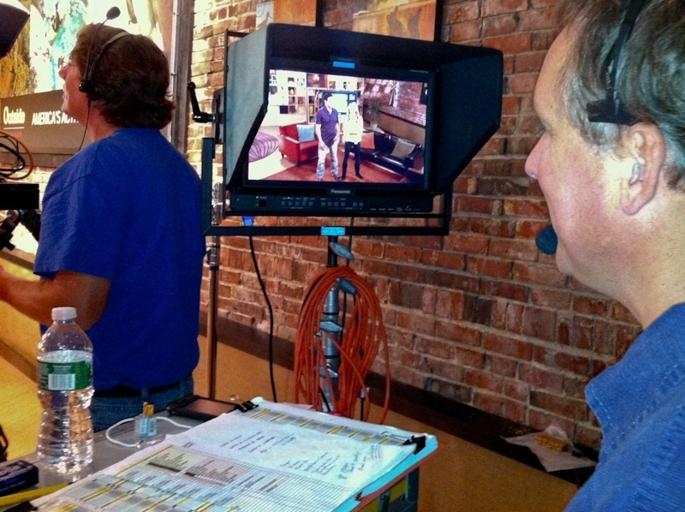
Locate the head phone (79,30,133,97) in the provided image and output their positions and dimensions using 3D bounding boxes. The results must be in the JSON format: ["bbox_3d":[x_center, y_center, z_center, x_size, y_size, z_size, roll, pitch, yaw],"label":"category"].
[{"bbox_3d":[-0.716,-0.570,1.684,0.042,0.164,0.146,32,22,2],"label":"head phone"}]
